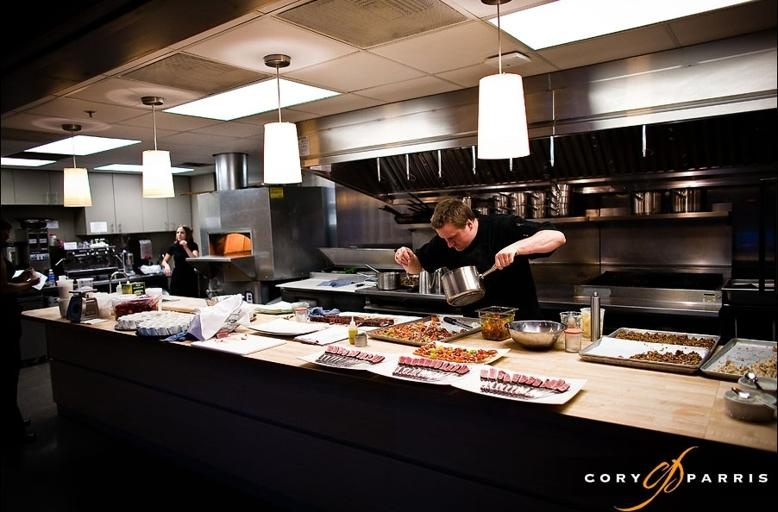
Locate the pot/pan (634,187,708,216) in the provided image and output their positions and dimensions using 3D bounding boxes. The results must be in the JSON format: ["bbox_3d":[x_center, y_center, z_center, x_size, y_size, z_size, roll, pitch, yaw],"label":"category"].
[{"bbox_3d":[2.589,-0.508,4.571,0.599,0.206,0.104,-1,7,25],"label":"pot/pan"}]

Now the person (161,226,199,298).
[{"bbox_3d":[-3.288,0.075,7.727,0.546,1.084,1.732,-7,6,-23],"label":"person"}]

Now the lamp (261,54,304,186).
[{"bbox_3d":[-0.897,-1.063,4.009,0.274,0.985,1.008,-5,6,-9],"label":"lamp"}]

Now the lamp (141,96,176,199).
[{"bbox_3d":[-2.385,-1.032,5.015,0.260,0.924,1.694,-7,6,-23],"label":"lamp"}]

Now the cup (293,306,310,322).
[{"bbox_3d":[-0.665,0.436,3.735,0.123,0.105,0.111,0,1,12],"label":"cup"}]

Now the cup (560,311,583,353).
[{"bbox_3d":[1.022,0.443,2.905,0.164,0.207,0.234,-1,-1,-2],"label":"cup"}]

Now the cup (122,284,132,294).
[{"bbox_3d":[-2.621,0.330,4.899,0.105,0.077,0.048,1,6,-4],"label":"cup"}]

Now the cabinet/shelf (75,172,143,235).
[{"bbox_3d":[-4.932,-0.903,8.581,0.567,1.152,1.353,4,4,37],"label":"cabinet/shelf"}]

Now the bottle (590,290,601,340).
[{"bbox_3d":[1.252,0.354,2.990,0.061,0.284,0.194,-2,6,22],"label":"bottle"}]

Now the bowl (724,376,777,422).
[{"bbox_3d":[1.548,0.608,2.113,0.174,0.146,0.185,-3,5,0],"label":"bowl"}]

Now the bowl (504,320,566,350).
[{"bbox_3d":[0.855,0.450,2.906,0.229,0.068,0.219,-1,4,0],"label":"bowl"}]

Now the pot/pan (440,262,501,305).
[{"bbox_3d":[0.497,0.173,3.008,0.380,0.184,0.192,-15,-11,10],"label":"pot/pan"}]

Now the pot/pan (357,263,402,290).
[{"bbox_3d":[-0.101,0.260,5.746,0.509,0.225,0.209,1,3,40],"label":"pot/pan"}]

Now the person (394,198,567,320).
[{"bbox_3d":[0.637,0.029,3.564,0.641,0.892,1.061,-9,8,-42],"label":"person"}]

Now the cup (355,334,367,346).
[{"bbox_3d":[-0.177,0.520,3.072,0.086,0.058,0.078,2,-5,-19],"label":"cup"}]
